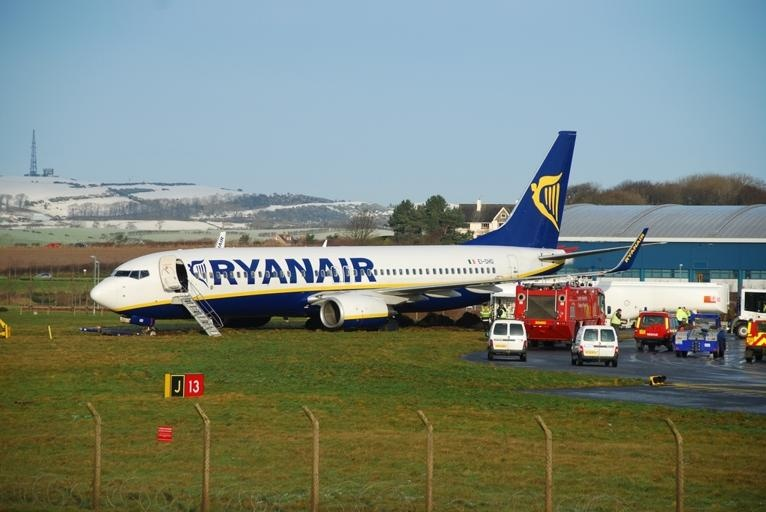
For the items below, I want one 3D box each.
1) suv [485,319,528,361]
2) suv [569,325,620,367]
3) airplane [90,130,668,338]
[{"bbox_3d":[6.902,4.430,63.899,2.207,1.533,3.677,2,-6,2],"label":"suv"},{"bbox_3d":[10.886,4.696,61.521,2.257,2.061,1.208,1,13,3],"label":"suv"},{"bbox_3d":[-0.999,-0.807,74.377,29.954,8.007,25.272,-4,17,-9],"label":"airplane"}]
